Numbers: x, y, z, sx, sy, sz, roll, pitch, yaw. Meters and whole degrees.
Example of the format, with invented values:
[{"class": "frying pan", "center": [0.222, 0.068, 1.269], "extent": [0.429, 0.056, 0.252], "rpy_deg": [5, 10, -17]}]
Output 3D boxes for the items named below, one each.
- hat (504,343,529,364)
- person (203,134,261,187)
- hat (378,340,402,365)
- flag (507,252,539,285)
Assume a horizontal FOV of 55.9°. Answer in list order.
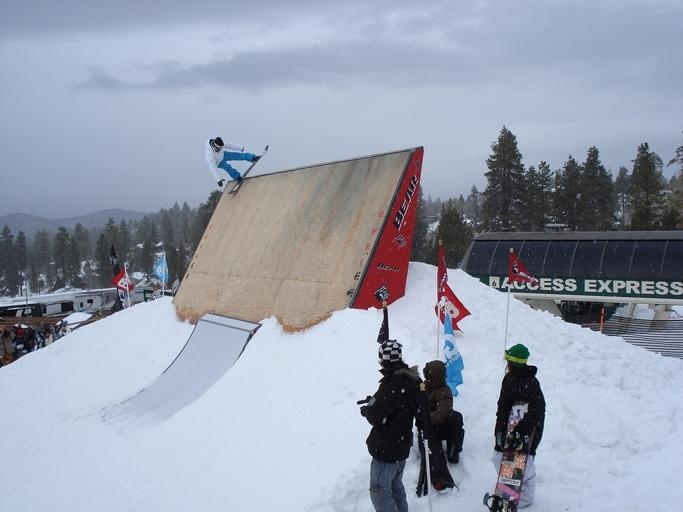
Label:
[{"class": "hat", "center": [3.227, 1.755, 11.931], "extent": [0.303, 0.323, 0.439], "rpy_deg": [1, 13, -27]}, {"class": "person", "center": [-3.695, -3.049, 20.945], "extent": [1.095, 1.521, 1.357], "rpy_deg": [2, 5, 28]}, {"class": "hat", "center": [0.908, 1.718, 11.633], "extent": [0.427, 0.434, 0.322], "rpy_deg": [4, 6, 38]}, {"class": "flag", "center": [6.061, 0.405, 21.247], "extent": [1.141, 1.477, 0.150], "rpy_deg": [3, 2, 19]}]
